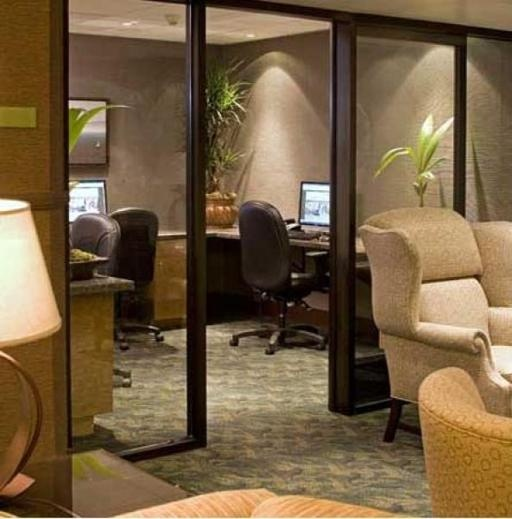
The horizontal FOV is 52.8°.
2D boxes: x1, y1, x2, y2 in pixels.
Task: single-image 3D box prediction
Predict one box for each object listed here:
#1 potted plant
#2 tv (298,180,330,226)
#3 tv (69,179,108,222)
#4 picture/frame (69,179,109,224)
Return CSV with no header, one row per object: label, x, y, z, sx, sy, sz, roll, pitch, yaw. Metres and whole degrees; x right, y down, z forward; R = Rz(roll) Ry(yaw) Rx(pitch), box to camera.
potted plant,-0.326,-1.426,6.300,0.496,2.062,0.521,1,5,11
tv,0.633,-0.595,5.511,0.060,0.609,0.576,0,4,-44
tv,-0.863,-0.305,2.626,0.224,0.232,0.023,-3,6,-39
picture/frame,-0.861,-0.302,2.627,0.233,0.242,0.024,-3,7,-40
